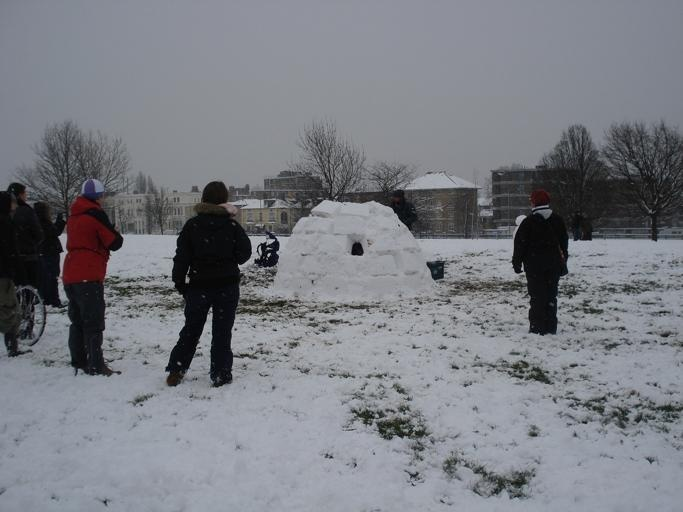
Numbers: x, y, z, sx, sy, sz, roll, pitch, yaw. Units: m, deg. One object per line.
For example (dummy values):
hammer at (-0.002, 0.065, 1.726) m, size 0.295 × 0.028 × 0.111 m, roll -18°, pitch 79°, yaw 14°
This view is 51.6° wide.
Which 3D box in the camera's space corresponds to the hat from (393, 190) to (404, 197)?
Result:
hat at (1.510, -1.643, 18.803) m, size 0.232 × 0.207 × 0.728 m, roll 0°, pitch 8°, yaw 5°

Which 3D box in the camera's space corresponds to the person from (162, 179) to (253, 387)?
person at (-1.608, 0.466, 8.494) m, size 1.014 × 2.160 × 0.379 m, roll -2°, pitch 7°, yaw -11°

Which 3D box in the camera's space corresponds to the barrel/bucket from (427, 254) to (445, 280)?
barrel/bucket at (2.069, 0.249, 16.096) m, size 0.534 × 0.550 × 0.388 m, roll -6°, pitch 5°, yaw -44°

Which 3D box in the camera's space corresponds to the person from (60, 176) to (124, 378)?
person at (-3.109, 0.271, 8.743) m, size 0.676 × 2.376 × 0.545 m, roll -3°, pitch 7°, yaw -20°

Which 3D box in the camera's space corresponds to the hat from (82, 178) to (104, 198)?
hat at (-3.146, -0.816, 8.881) m, size 0.195 × 0.183 × 0.287 m, roll 0°, pitch 26°, yaw -18°

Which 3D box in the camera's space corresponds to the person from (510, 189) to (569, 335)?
person at (2.913, 0.083, 10.460) m, size 0.653 × 2.077 × 0.833 m, roll 5°, pitch 9°, yaw 39°
